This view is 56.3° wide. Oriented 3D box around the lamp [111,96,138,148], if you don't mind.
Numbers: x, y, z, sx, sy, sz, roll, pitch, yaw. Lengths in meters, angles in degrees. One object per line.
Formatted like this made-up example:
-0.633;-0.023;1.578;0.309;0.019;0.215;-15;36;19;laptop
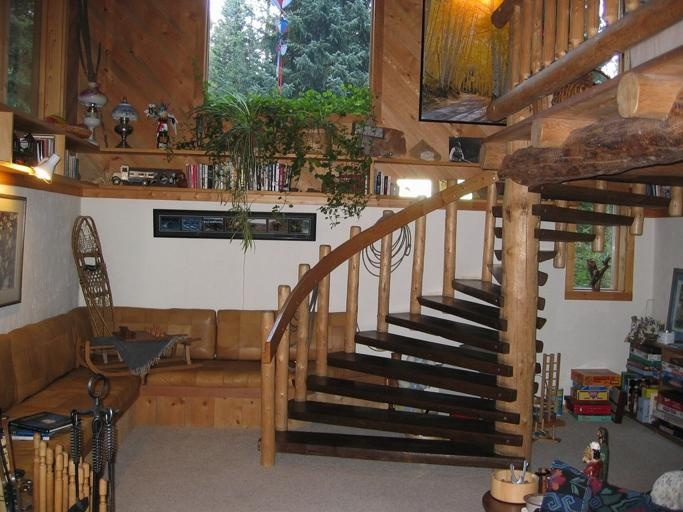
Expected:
-2.630;-1.602;7.727;0.285;0.594;0.571;0;10;-18;lamp

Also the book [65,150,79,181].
-2.988;-0.995;7.041;0.132;0.297;0.536;-1;10;-23;book

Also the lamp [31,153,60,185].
-2.721;-0.796;5.824;0.168;0.244;0.193;9;11;35;lamp

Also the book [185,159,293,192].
-1.226;-0.939;7.532;1.248;0.369;0.470;2;9;-7;book
